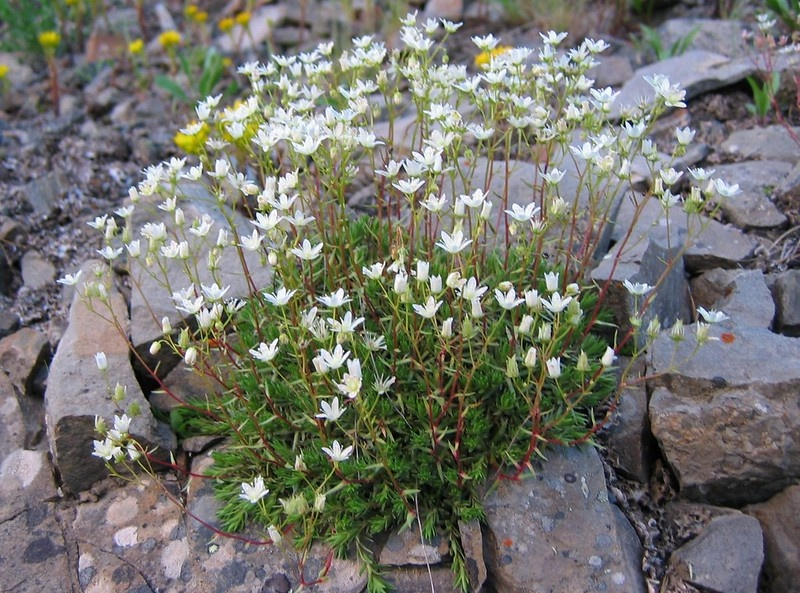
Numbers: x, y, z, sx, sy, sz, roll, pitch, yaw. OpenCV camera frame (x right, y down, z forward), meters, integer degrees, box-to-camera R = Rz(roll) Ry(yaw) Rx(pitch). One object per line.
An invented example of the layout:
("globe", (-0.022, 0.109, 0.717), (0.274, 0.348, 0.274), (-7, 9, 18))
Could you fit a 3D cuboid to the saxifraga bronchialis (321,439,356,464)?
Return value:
("saxifraga bronchialis", (-0.350, 0.885, 3.999), (0.159, 0.101, 0.205), (-7, 41, -7))
